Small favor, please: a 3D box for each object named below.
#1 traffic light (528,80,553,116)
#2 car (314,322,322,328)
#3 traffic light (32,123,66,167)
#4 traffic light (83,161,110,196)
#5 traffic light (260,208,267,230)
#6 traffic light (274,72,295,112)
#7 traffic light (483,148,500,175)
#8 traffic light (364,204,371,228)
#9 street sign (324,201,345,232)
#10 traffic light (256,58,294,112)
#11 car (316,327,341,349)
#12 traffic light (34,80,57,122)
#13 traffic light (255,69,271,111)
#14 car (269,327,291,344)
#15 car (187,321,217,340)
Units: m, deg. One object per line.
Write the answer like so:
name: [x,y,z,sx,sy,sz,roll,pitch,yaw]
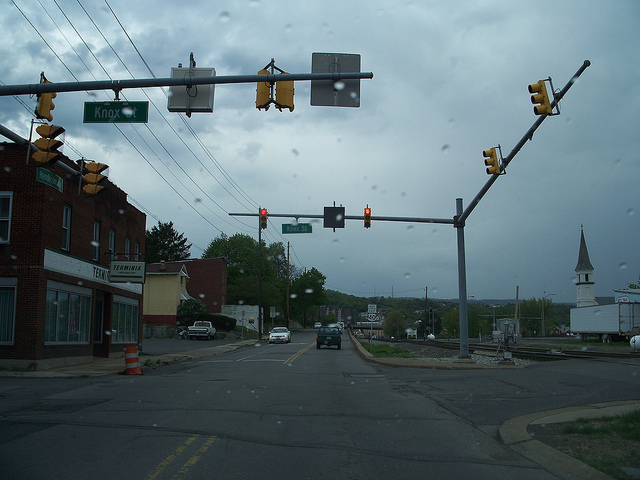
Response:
traffic light: [6.485,-4.119,20.158,0.500,1.220,0.980,-5,-11,23]
car: [-0.339,14.923,117.058,1.162,1.018,2.771,1,-1,3]
traffic light: [-7.262,-2.638,18.357,0.669,1.189,0.717,4,-11,-27]
traffic light: [-6.823,-1.917,20.804,0.649,1.036,0.779,2,-11,-19]
traffic light: [-2.485,-0.928,30.304,0.309,0.912,0.630,0,-10,-4]
traffic light: [-0.917,-3.883,17.921,0.434,1.027,0.526,0,-10,-5]
traffic light: [6.087,-2.754,24.224,0.487,1.058,1.583,-3,-11,14]
traffic light: [2.068,-0.939,29.867,0.189,0.771,0.257,4,-10,-28]
street sign: [0.643,-1.033,30.603,0.947,1.585,0.095,0,30,0]
traffic light: [-1.155,-4.041,17.758,0.941,1.349,0.817,0,-10,-6]
car: [0.585,6.250,43.308,1.133,1.226,2.283,0,-4,1]
traffic light: [-7.220,-3.568,18.071,0.517,0.753,0.355,8,-13,-42]
traffic light: [-1.449,-3.893,17.835,0.377,1.107,0.533,4,-11,-26]
car: [-3.058,7.430,52.986,1.549,1.450,3.704,0,-12,-5]
car: [-9.718,7.370,55.675,1.866,1.511,2.015,0,-11,-8]
